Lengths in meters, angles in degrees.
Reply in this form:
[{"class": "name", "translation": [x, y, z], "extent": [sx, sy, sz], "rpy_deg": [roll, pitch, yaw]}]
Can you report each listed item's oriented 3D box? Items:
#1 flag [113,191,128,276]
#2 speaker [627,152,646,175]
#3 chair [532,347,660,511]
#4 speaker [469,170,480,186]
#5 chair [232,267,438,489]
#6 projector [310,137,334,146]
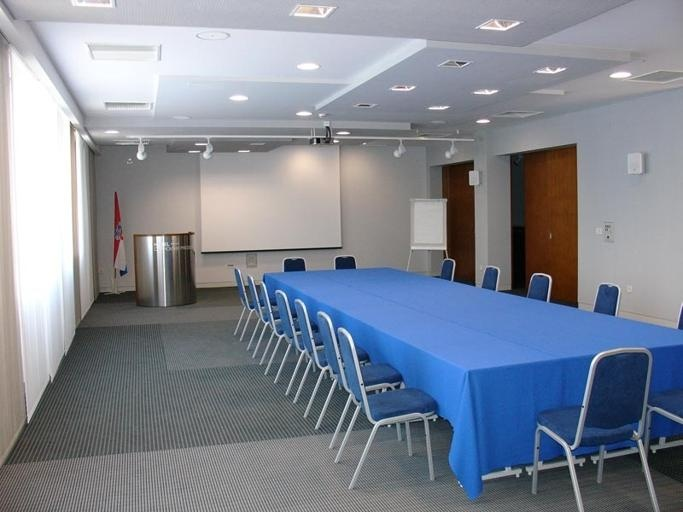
[{"class": "flag", "translation": [-5.320, -0.511, 11.410], "extent": [0.311, 2.088, 0.789], "rpy_deg": [-5, 8, -25]}, {"class": "speaker", "translation": [4.859, -1.538, 7.854], "extent": [0.147, 0.374, 0.270], "rpy_deg": [-4, 7, -25]}, {"class": "chair", "translation": [1.610, 1.081, 3.092], "extent": [0.591, 1.093, 0.460], "rpy_deg": [-4, 7, -22]}, {"class": "speaker", "translation": [3.175, -1.850, 11.223], "extent": [0.134, 0.392, 0.276], "rpy_deg": [-3, 7, -15]}, {"class": "chair", "translation": [0.235, 1.021, 3.859], "extent": [0.777, 1.189, 1.264], "rpy_deg": [-3, 7, -13]}, {"class": "projector", "translation": [-0.322, -2.107, 8.596], "extent": [0.383, 0.100, 0.413], "rpy_deg": [-2, 3, -23]}]
